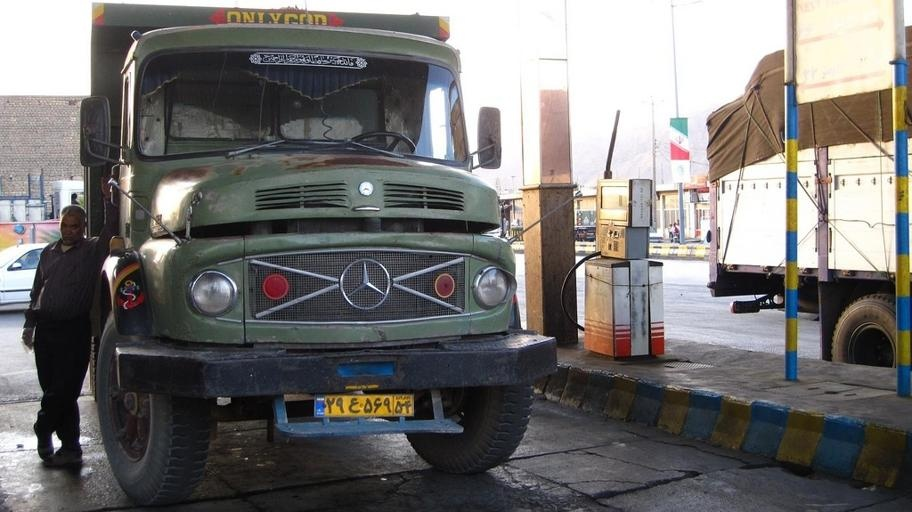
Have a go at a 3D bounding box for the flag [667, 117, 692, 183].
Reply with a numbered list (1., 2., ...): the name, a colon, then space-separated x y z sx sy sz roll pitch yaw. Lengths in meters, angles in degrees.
1. flag: 12.605 -6.037 43.463 0.981 3.619 1.768 4 11 23

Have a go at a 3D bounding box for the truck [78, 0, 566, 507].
1. truck: -2.128 0.037 10.616 3.734 3.952 6.747 1 -6 -15

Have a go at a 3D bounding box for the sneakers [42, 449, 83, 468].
1. sneakers: -4.396 2.303 8.710 0.433 0.191 0.183 7 -3 -15

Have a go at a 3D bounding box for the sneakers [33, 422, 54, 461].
1. sneakers: -4.698 2.148 8.797 0.182 0.533 0.214 -11 8 -34

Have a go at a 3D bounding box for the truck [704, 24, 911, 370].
1. truck: 5.874 -0.950 12.803 0.926 4.910 3.808 -4 10 -21
